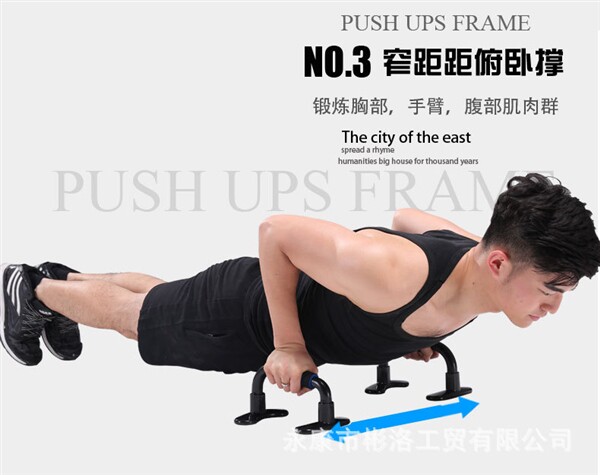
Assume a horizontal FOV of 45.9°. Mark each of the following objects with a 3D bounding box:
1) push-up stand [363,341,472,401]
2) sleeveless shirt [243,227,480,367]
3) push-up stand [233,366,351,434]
[{"bbox_3d":[0.575,0.632,3.482,0.486,0.265,0.336,-5,-6,40],"label":"push-up stand"},{"bbox_3d":[0.225,0.296,3.077,0.958,0.286,0.545,-11,3,37],"label":"sleeveless shirt"},{"bbox_3d":[-0.037,0.632,2.839,0.403,0.213,0.285,-3,0,36],"label":"push-up stand"}]
